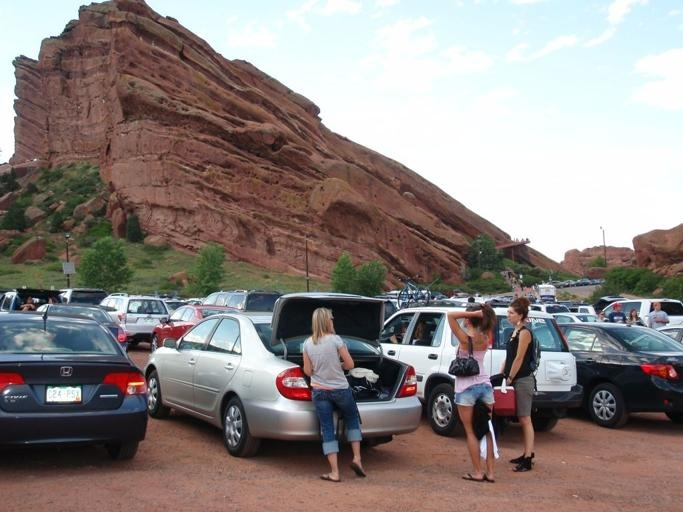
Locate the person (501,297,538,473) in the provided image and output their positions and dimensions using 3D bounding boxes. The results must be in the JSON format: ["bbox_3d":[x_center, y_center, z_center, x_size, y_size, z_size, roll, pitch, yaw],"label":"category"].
[{"bbox_3d":[2.440,1.711,7.325,0.450,2.002,0.337,4,-1,16],"label":"person"}]

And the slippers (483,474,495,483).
[{"bbox_3d":[1.838,2.757,6.726,0.064,0.065,0.168,1,3,-18],"label":"slippers"}]

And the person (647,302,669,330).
[{"bbox_3d":[10.156,1.908,17.288,0.578,1.180,0.430,-9,-53,26],"label":"person"}]

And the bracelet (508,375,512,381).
[{"bbox_3d":[2.275,1.634,7.247,0.018,0.050,0.054,5,-3,-40],"label":"bracelet"}]

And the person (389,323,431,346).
[{"bbox_3d":[1.299,1.476,10.258,0.296,0.344,0.932,4,-4,-22],"label":"person"}]

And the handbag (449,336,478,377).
[{"bbox_3d":[1.571,1.275,6.800,0.338,0.453,0.197,4,-1,25],"label":"handbag"}]

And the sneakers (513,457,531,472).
[{"bbox_3d":[2.467,2.805,7.296,0.230,0.102,0.323,2,-6,-2],"label":"sneakers"}]

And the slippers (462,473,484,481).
[{"bbox_3d":[1.643,2.747,6.732,0.182,0.049,0.100,5,2,41],"label":"slippers"}]

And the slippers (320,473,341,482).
[{"bbox_3d":[-0.121,2.693,6.561,0.210,0.056,0.095,6,1,42],"label":"slippers"}]

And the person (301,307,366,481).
[{"bbox_3d":[-0.085,1.695,6.665,0.853,2.007,0.377,4,-1,2],"label":"person"}]
